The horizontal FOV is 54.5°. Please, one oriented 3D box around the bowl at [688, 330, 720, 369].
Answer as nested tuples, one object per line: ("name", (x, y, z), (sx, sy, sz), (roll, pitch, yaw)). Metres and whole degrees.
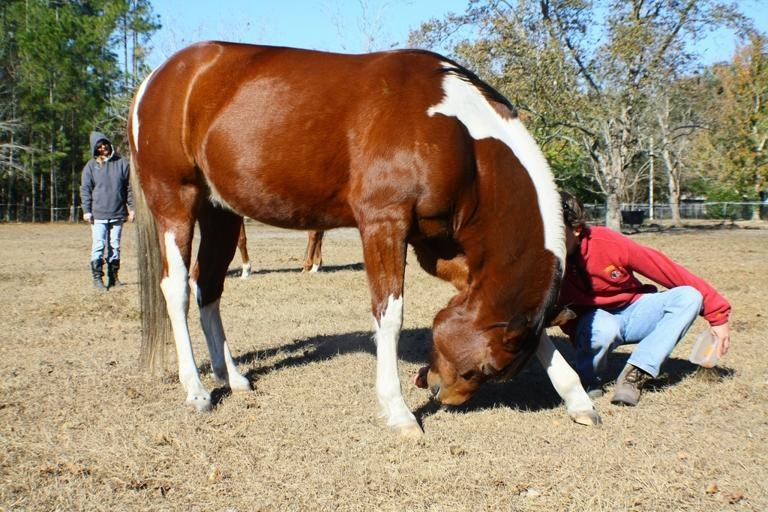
("bowl", (3.433, 1.012, 7.951), (0.157, 0.395, 0.310), (24, -11, -11))
